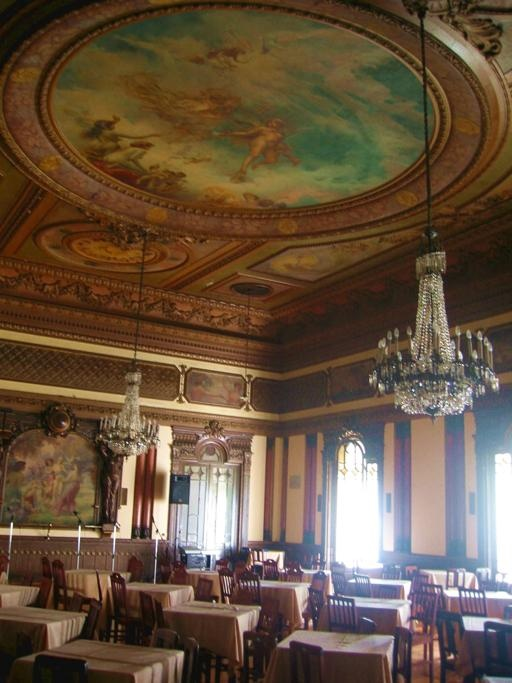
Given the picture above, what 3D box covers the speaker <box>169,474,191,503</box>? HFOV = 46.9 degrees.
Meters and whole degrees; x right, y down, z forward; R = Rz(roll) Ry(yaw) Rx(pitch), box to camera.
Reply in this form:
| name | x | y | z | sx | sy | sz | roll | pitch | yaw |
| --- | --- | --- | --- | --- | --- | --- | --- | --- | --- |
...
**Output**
| name | x | y | z | sx | sy | sz | roll | pitch | yaw |
| --- | --- | --- | --- | --- | --- | --- | --- | --- | --- |
| speaker | -1.601 | 3.177 | 12.621 | 0.268 | 0.643 | 0.567 | -6 | -16 | 34 |
